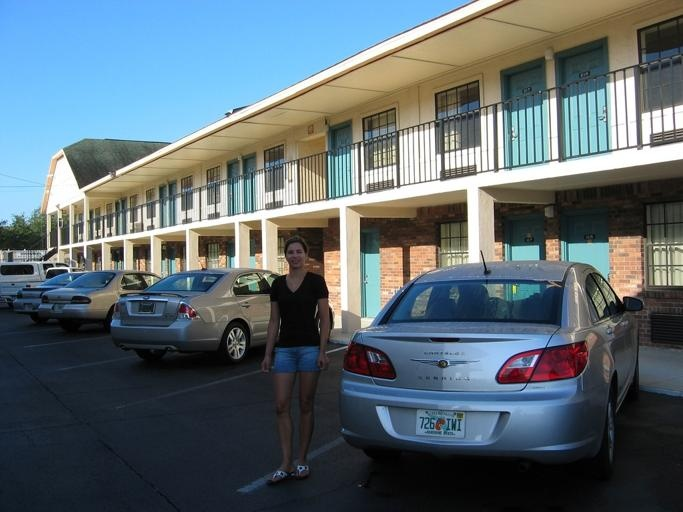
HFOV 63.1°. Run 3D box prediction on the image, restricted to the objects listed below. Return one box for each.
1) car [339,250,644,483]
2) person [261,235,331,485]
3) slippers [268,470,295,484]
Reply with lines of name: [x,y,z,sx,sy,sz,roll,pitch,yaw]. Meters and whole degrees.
car: [1.206,0.885,4.585,1.430,1.098,3.033,-1,1,27]
person: [-0.408,0.936,5.197,0.566,1.842,0.435,-1,0,-7]
slippers: [-0.560,1.998,5.042,0.182,0.077,0.096,2,-6,-35]
